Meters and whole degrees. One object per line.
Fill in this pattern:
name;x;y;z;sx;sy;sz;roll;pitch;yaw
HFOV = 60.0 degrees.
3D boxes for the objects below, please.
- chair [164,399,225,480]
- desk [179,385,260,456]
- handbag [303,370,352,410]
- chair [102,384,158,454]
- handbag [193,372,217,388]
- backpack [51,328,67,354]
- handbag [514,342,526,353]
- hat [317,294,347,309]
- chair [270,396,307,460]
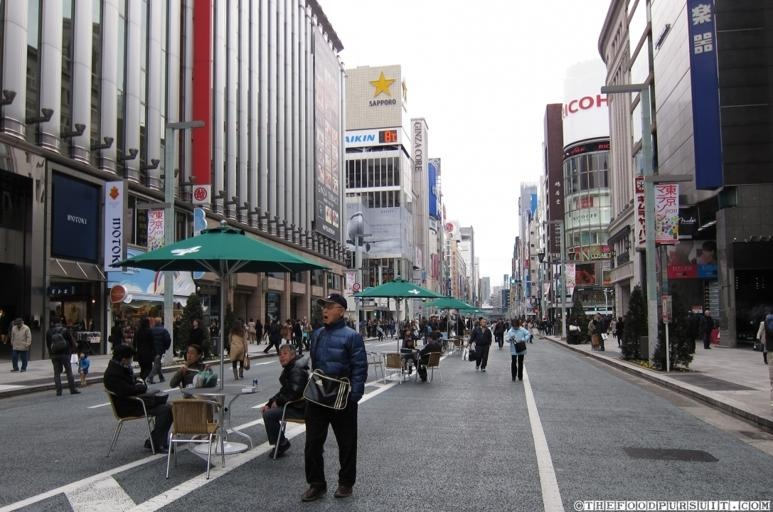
chair;-3.865;3.613;13.434;0.866;1.599;1.038;1;-1;-3
desk;-3.459;3.679;14.788;1.377;1.107;1.489;1;-10;1
handbag;-1.016;2.408;11.972;0.503;0.441;0.243;15;-21;10
chair;-5.479;3.376;14.486;0.967;1.425;1.042;0;16;-6
handbag;-3.946;2.720;14.591;0.301;0.433;0.425;2;-28;-11
backpack;-10.468;2.712;21.350;0.529;0.873;0.456;-7;-19;-33
handbag;4.695;3.181;23.552;0.321;0.343;0.137;-3;-9;-22
hat;-0.964;0.750;12.232;0.433;0.253;0.291;8;-16;-16
chair;-2.023;3.412;13.932;0.715;1.114;0.774;-2;1;19
